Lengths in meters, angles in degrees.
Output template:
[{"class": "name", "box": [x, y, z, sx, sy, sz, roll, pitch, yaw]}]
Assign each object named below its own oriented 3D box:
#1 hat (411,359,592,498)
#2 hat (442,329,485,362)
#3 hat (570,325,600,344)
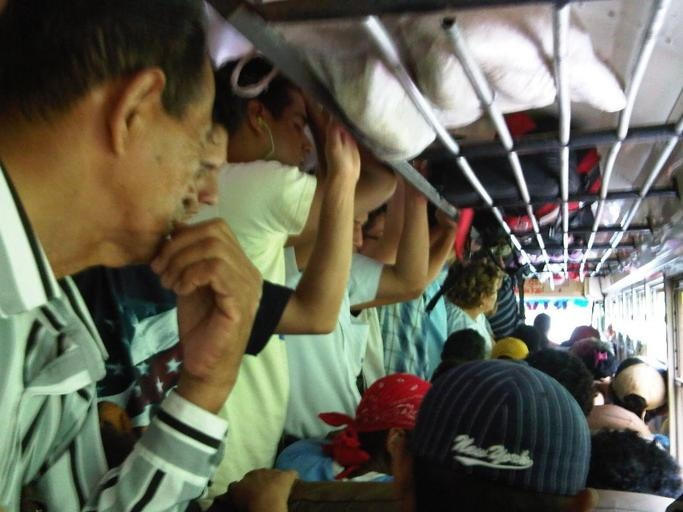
[{"class": "hat", "box": [0.305, 0.321, 1.013, 0.245, 0.161, 0.268, 24, 8, 28]}, {"class": "hat", "box": [0.546, 0.404, 2.439, 0.119, 0.161, 0.164, 28, -40, 32]}, {"class": "hat", "box": [1.227, 0.393, 2.766, 0.109, 0.094, 0.129, -2, -1, -4]}]
